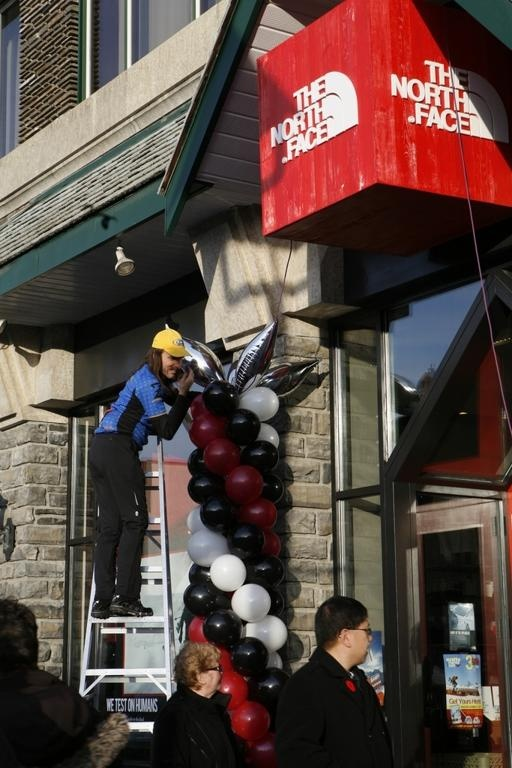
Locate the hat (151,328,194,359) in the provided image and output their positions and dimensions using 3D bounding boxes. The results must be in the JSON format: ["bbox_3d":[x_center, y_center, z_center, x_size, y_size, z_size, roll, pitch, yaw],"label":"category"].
[{"bbox_3d":[-0.484,-0.242,5.616,0.201,0.113,0.136,20,12,36],"label":"hat"}]

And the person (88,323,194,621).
[{"bbox_3d":[-0.673,0.525,5.784,0.657,1.703,0.514,1,-8,-10],"label":"person"}]

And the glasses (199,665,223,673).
[{"bbox_3d":[-0.164,1.121,3.772,0.064,0.018,0.064,-6,-10,-8],"label":"glasses"}]

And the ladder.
[{"bbox_3d":[-0.919,1.767,7.062,0.555,2.407,0.726,4,-7,-35],"label":"ladder"}]
